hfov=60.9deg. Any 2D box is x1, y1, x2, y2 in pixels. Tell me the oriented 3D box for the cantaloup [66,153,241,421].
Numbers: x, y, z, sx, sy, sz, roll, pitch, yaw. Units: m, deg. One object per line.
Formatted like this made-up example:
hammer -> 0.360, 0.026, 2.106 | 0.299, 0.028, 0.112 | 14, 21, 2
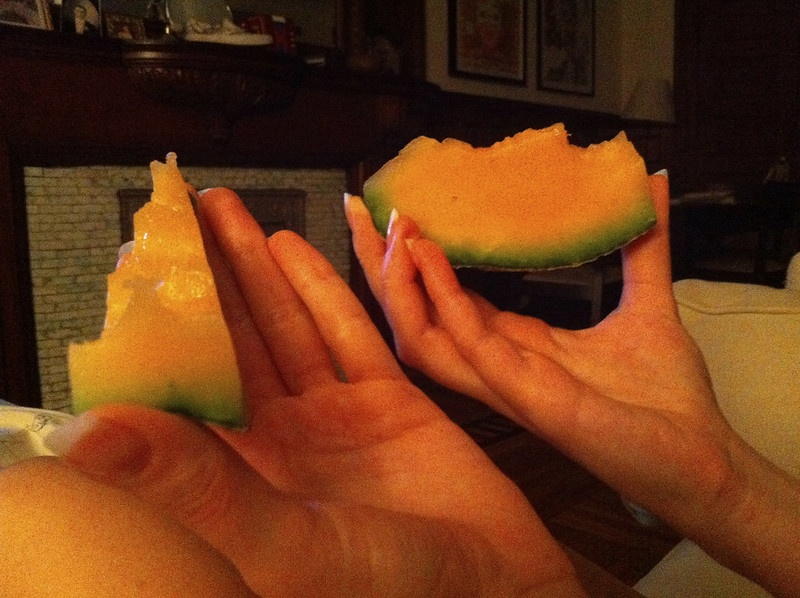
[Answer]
cantaloup -> -0.183, -0.008, 0.556 | 0.115, 0.270, 0.067 | 6, 34, -6
